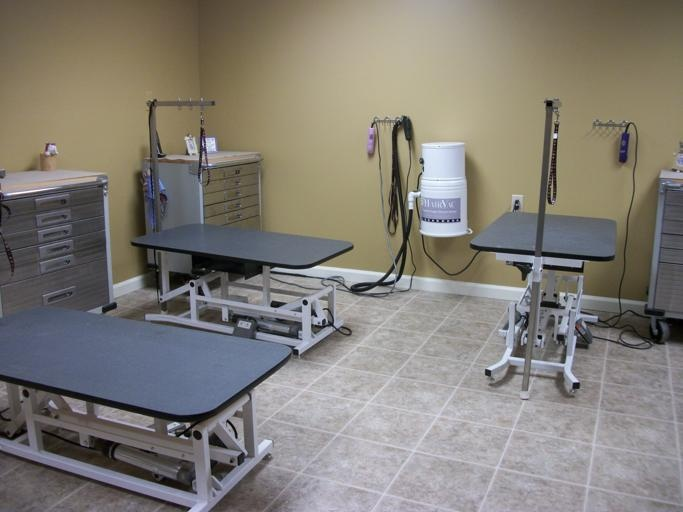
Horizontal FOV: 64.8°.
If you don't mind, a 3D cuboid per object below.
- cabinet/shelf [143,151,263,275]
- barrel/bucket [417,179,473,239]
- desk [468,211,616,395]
[{"bbox_3d":[-1.230,-0.664,5.636,0.466,0.745,0.782,19,27,39],"label":"cabinet/shelf"},{"bbox_3d":[0.944,-0.428,4.895,0.505,0.559,0.435,3,10,26],"label":"barrel/bucket"},{"bbox_3d":[1.665,0.162,4.300,0.895,1.080,1.794,8,15,26],"label":"desk"}]
